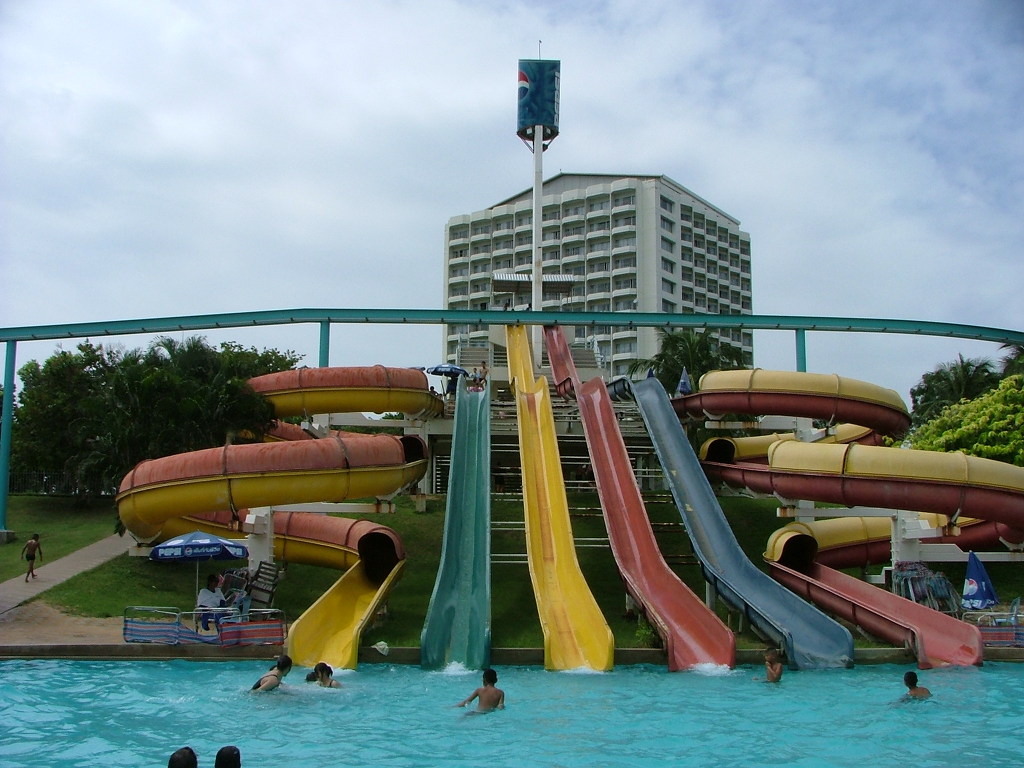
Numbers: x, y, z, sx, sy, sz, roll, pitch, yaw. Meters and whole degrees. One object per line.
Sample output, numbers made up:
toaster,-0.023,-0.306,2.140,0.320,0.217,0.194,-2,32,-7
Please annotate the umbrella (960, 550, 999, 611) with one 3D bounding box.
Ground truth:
umbrella,9.441,4.011,17.945,0.576,1.219,0.939,0,-2,27

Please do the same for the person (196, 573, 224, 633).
person,-5.674,4.230,16.865,0.478,0.967,1.340,1,-2,-18

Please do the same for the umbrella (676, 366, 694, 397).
umbrella,5.471,-0.066,28.041,0.686,0.445,0.967,3,39,6
